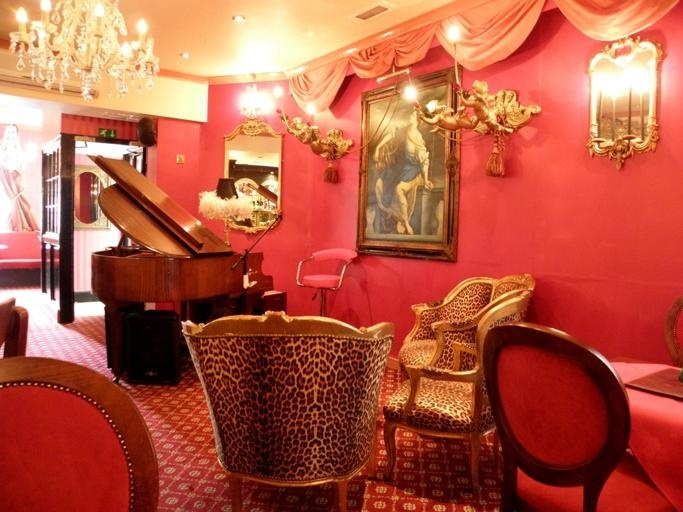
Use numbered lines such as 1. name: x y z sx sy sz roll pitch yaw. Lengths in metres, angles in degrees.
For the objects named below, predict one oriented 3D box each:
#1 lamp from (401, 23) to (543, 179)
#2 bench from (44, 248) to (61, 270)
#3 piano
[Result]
1. lamp: 1.048 -1.403 4.811 0.761 1.405 1.190 0 3 -27
2. bench: -4.341 0.051 8.243 0.218 0.299 0.206 16 18 17
3. piano: -1.604 0.001 5.985 1.892 2.920 1.972 -1 4 -22
